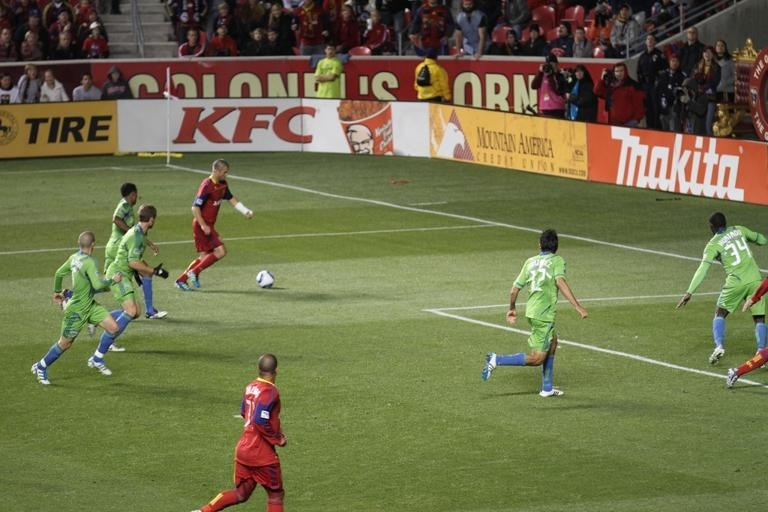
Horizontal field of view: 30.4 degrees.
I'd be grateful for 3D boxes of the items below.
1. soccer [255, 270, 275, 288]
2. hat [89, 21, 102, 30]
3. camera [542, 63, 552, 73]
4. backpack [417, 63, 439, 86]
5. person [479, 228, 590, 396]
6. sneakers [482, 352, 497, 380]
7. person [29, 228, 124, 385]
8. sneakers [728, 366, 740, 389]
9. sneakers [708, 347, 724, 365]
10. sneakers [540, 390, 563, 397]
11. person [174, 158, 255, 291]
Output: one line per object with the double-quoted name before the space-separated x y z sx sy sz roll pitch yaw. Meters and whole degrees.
"soccer" -2.548 0.493 30.059 0.359 0.361 0.471 0 5 -9
"hat" -9.398 -7.469 45.725 0.285 0.090 0.281 -2 22 33
"camera" 4.673 -5.372 40.508 0.273 0.262 0.247 -14 -3 1
"backpack" 1.310 -5.415 42.312 0.505 0.779 0.647 7 -3 -30
"person" 2.725 1.024 24.735 1.552 2.934 0.626 0 5 2
"sneakers" 1.840 1.980 24.802 0.203 0.548 0.252 13 20 8
"person" -5.614 0.911 25.614 1.520 2.728 1.128 -1 5 -14
"sneakers" 6.193 2.162 25.044 0.152 0.424 0.212 13 40 -10
"sneakers" 6.095 1.825 25.773 0.198 0.213 0.435 18 -18 4
"sneakers" 2.973 2.391 24.970 0.415 0.152 0.147 -5 6 -11
"person" -3.732 -0.662 30.187 0.785 2.752 1.338 5 7 43
